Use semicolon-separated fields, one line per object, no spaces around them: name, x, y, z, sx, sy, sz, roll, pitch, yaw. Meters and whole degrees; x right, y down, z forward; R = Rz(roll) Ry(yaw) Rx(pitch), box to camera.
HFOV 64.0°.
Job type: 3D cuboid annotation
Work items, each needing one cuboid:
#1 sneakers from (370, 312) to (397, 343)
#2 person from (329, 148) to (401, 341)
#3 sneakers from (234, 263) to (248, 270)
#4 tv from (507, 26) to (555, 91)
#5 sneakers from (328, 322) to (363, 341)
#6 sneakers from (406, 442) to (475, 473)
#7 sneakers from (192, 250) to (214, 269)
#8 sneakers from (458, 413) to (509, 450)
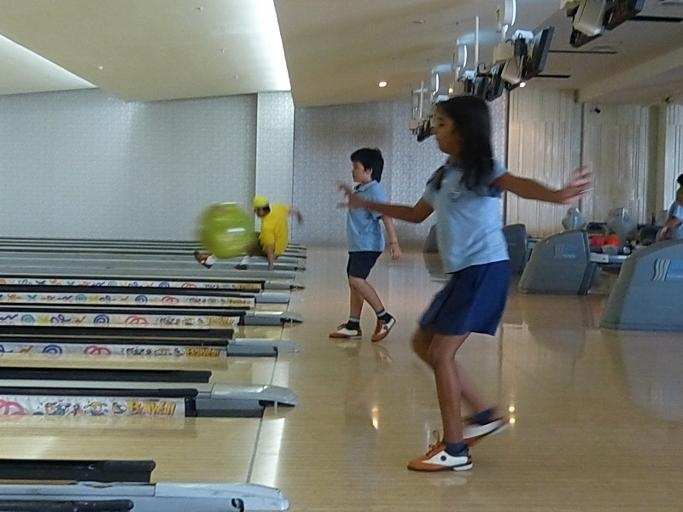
sneakers;0.310;0.515;3.990;0.105;0.231;0.128;19;18;-38
person;0.174;-0.079;3.903;0.384;1.364;0.590;3;0;-32
sneakers;-1.285;0.147;6.930;0.172;0.073;0.063;2;-2;-3
tv;2.295;-2.443;6.642;0.339;0.617;0.943;-5;11;-8
sneakers;0.035;0.554;4.001;0.218;0.095;0.117;2;-2;3
sneakers;0.389;0.799;2.186;0.272;0.132;0.101;1;-7;0
sneakers;-1.814;0.062;7.116;0.160;0.082;0.244;9;-20;36
sneakers;0.574;0.716;2.280;0.236;0.094;0.086;-23;-10;-26
